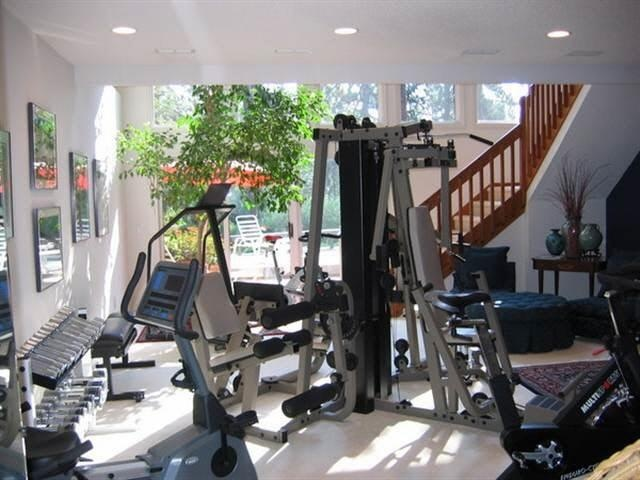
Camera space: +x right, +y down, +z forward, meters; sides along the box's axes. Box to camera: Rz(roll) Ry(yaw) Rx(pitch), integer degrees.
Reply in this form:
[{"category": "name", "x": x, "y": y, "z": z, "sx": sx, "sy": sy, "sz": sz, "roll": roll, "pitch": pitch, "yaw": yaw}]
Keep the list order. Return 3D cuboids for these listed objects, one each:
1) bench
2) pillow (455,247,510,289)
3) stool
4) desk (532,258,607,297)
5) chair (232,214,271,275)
[{"category": "bench", "x": -1.953, "y": 0.974, "z": 5.001, "sx": 0.590, "sy": 0.935, "sz": 0.928, "roll": 1, "pitch": 7, "yaw": -15}, {"category": "pillow", "x": 2.174, "y": 0.371, "z": 6.969, "sx": 0.759, "sy": 0.820, "sz": 0.339, "roll": -3, "pitch": -4, "yaw": 7}, {"category": "stool", "x": 2.307, "y": 0.970, "z": 5.914, "sx": 1.151, "sy": 0.542, "sz": 0.555, "roll": -4, "pitch": 8, "yaw": -19}, {"category": "desk", "x": 3.288, "y": 0.461, "z": 6.919, "sx": 0.751, "sy": 0.522, "sz": 0.897, "roll": -5, "pitch": 6, "yaw": -33}, {"category": "chair", "x": -1.095, "y": 0.079, "z": 8.534, "sx": 0.533, "sy": 1.065, "sz": 0.532, "roll": 5, "pitch": 6, "yaw": 18}]
